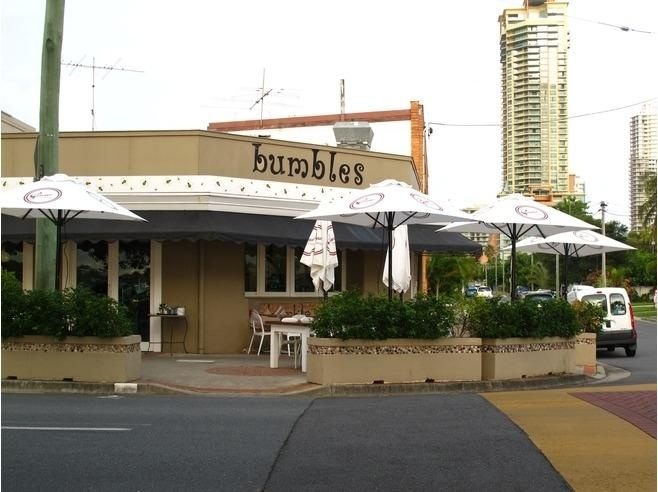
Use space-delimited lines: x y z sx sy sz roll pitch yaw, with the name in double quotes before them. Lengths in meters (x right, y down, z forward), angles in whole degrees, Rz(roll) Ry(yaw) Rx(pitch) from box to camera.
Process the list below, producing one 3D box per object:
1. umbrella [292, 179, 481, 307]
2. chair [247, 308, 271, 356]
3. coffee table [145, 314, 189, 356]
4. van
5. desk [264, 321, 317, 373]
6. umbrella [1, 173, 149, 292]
"umbrella" 1.325 -0.179 19.944 3.131 2.511 2.915 1 5 8
"chair" -1.689 2.234 23.501 0.599 0.960 0.583 1 -1 -26
"coffee table" -4.149 2.416 24.655 1.030 0.971 1.056 -6 -2 28
"van" 8.648 2.323 27.016 1.643 1.675 3.192 -1 3 2
"desk" -0.861 2.292 21.051 1.333 1.085 1.389 3 -1 -31
"umbrella" -5.600 -0.324 19.391 2.510 2.383 2.490 -1 5 -13
